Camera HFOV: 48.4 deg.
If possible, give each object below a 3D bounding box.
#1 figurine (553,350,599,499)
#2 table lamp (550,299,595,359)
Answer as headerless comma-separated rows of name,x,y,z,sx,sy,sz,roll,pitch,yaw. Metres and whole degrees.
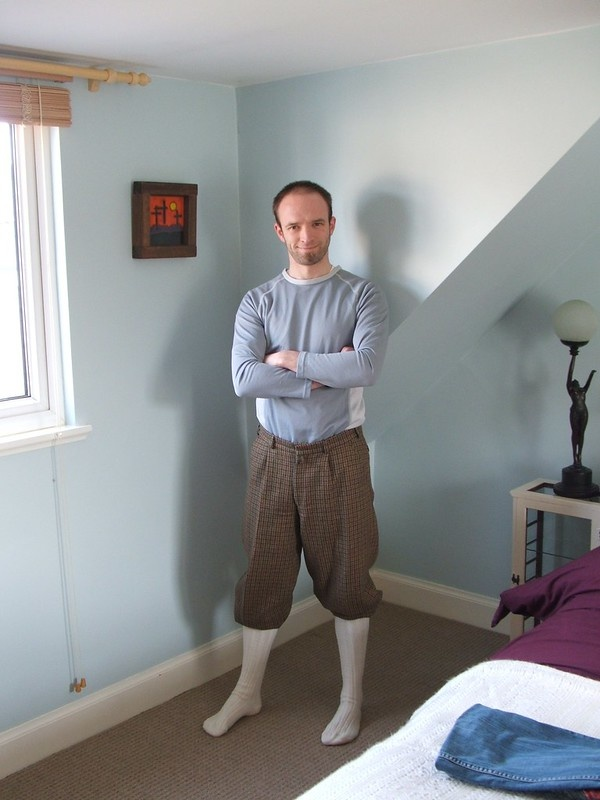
figurine,0.948,0.059,2.274,0.138,0.504,0.283,1,8,21
table lamp,0.893,-0.234,2.182,0.108,0.181,0.113,-4,8,-19
